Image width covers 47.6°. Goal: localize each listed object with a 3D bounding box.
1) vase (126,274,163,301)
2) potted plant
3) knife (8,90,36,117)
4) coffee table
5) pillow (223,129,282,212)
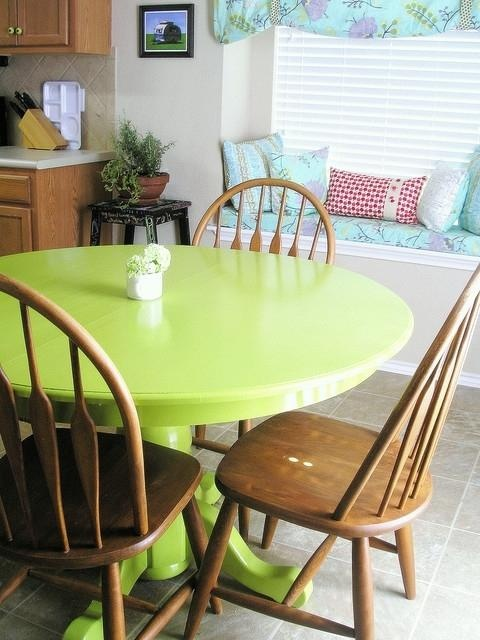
[{"bbox_3d":[-0.210,-0.074,1.212,0.067,0.048,0.067,9,22,14],"label":"vase"},{"bbox_3d":[-0.563,-0.883,3.044,0.377,0.503,0.442,8,27,17],"label":"potted plant"},{"bbox_3d":[-1.397,-1.388,3.502,0.141,0.164,0.360,-12,24,-35],"label":"knife"},{"bbox_3d":[-0.552,-0.585,3.057,0.430,0.399,0.405,-11,18,-32],"label":"coffee table"},{"bbox_3d":[0.036,-0.820,3.104,0.128,0.416,0.431,-1,12,37],"label":"pillow"}]
